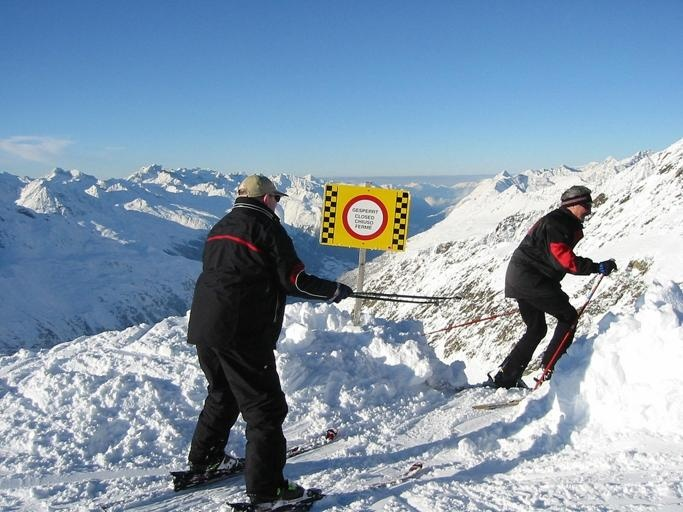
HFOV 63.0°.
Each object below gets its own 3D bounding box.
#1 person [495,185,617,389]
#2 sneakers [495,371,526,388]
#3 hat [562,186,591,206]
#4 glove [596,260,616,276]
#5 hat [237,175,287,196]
[{"bbox_3d":[3.660,0.639,9.836,1.600,3.231,0.975,8,4,26],"label":"person"},{"bbox_3d":[3.135,2.319,10.356,0.477,0.175,0.297,7,38,8],"label":"sneakers"},{"bbox_3d":[3.987,-1.031,9.484,0.398,0.237,0.388,-3,7,-35],"label":"hat"},{"bbox_3d":[4.621,0.177,9.719,0.281,0.271,0.651,8,4,25],"label":"glove"},{"bbox_3d":[-1.146,-1.079,7.990,0.595,0.251,0.382,-7,20,-29],"label":"hat"}]
